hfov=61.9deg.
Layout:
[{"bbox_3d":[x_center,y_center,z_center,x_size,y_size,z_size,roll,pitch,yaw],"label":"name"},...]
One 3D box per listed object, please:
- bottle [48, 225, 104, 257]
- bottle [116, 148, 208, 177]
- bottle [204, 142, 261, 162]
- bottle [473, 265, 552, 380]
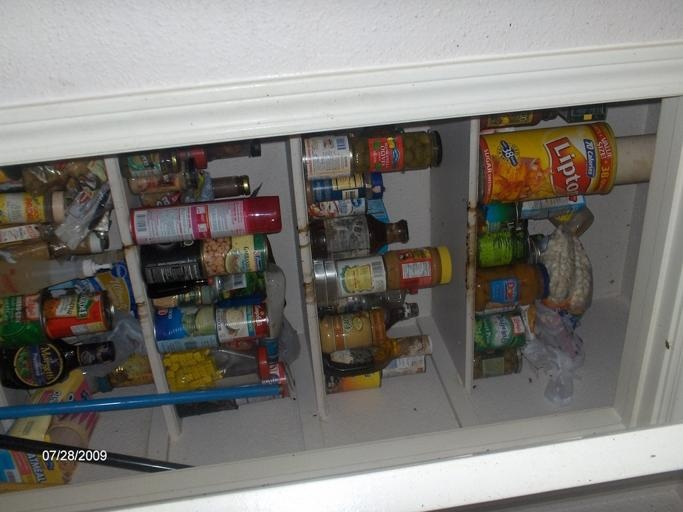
[{"bbox_3d":[-0.813,-0.036,1.747,0.133,0.053,0.083,-9,-27,-4],"label":"bottle"},{"bbox_3d":[-0.511,-0.268,1.642,0.248,0.081,0.083,-9,-18,-16],"label":"bottle"},{"bbox_3d":[-0.348,-0.338,1.833,0.176,0.068,0.065,-10,11,-14],"label":"bottle"},{"bbox_3d":[0.566,0.214,1.908,0.367,0.225,0.224,-18,12,34],"label":"bottle"}]
